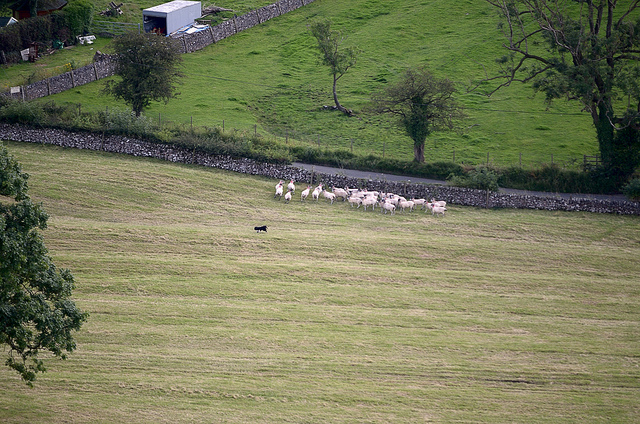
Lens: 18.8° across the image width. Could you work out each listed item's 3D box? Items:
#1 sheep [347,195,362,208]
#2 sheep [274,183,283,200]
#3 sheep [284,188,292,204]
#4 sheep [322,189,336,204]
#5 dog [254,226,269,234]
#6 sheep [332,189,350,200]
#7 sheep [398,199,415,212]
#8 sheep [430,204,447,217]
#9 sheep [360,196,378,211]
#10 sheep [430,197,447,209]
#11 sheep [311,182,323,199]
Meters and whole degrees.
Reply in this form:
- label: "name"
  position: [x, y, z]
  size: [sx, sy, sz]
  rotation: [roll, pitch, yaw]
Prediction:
- label: "sheep"
  position: [4.866, -1.273, 247.028]
  size: [1.833, 1.199, 0.960]
  rotation: [2, 16, 8]
- label: "sheep"
  position: [-4.957, -2.606, 246.397]
  size: [0.917, 1.966, 1.548]
  rotation: [-1, 16, -3]
- label: "sheep"
  position: [-3.846, -1.892, 245.570]
  size: [0.816, 1.682, 1.279]
  rotation: [1, 16, 3]
- label: "sheep"
  position: [1.529, -1.896, 247.111]
  size: [1.451, 1.589, 1.411]
  rotation: [0, 16, 0]
- label: "dog"
  position: [-6.993, 2.184, 239.166]
  size: [1.543, 0.815, 0.934]
  rotation: [-4, 16, -15]
- label: "sheep"
  position: [2.578, -2.272, 247.702]
  size: [2.929, 1.390, 0.719]
  rotation: [11, 35, 2]
- label: "sheep"
  position: [11.416, -0.839, 246.927]
  size: [2.062, 1.786, 1.156]
  rotation: [-4, 17, -13]
- label: "sheep"
  position: [15.454, -0.222, 246.413]
  size: [1.619, 1.431, 0.913]
  rotation: [0, 16, 2]
- label: "sheep"
  position: [6.633, -1.037, 246.684]
  size: [1.744, 1.553, 1.114]
  rotation: [-5, 17, -17]
- label: "sheep"
  position: [15.288, -1.175, 247.308]
  size: [2.481, 1.206, 0.677]
  rotation: [5, 15, 16]
- label: "sheep"
  position: [0.088, -2.800, 247.262]
  size: [0.852, 1.207, 2.313]
  rotation: [13, 40, 16]
